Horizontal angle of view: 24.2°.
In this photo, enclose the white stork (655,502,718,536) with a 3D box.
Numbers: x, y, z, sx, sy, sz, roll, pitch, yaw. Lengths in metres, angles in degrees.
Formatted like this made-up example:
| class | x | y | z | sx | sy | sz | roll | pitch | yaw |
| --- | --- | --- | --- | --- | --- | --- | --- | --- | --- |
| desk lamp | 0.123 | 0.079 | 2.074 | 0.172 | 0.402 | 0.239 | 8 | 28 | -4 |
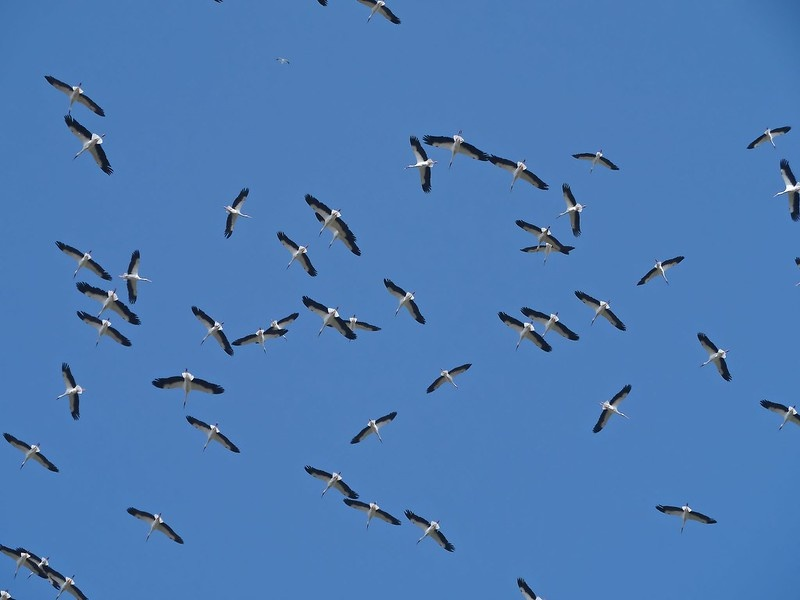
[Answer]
| class | x | y | z | sx | sy | sz | roll | pitch | yaw |
| --- | --- | --- | --- | --- | --- | --- | --- | --- | --- |
| white stork | 10.308 | 7.540 | 65.900 | 1.979 | 0.819 | 0.758 | 5 | -39 | 12 |
